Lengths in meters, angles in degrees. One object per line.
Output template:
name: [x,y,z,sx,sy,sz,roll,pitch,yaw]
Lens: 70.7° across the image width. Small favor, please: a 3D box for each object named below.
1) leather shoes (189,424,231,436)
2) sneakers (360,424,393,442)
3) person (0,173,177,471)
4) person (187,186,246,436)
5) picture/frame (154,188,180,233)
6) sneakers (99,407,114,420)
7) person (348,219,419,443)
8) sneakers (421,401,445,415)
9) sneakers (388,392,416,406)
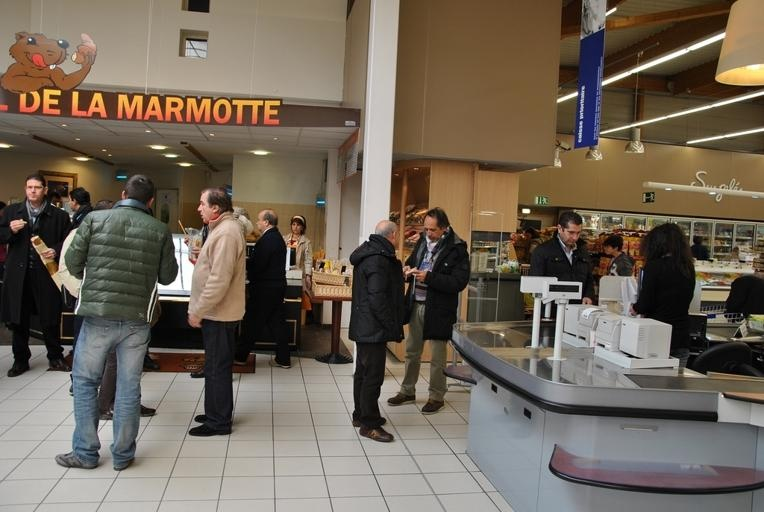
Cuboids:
leather shoes: [-1.711,1.748,5.397,0.386,0.131,0.134,6,-6,-8]
sneakers: [-0.051,1.793,5.444,0.302,0.120,0.133,-1,-3,26]
person: [-2.332,0.590,4.722,0.939,2.520,0.623,-5,13,-40]
person: [-1.639,0.570,5.362,0.516,2.393,0.543,0,11,-17]
picture/frame: [-6.445,-1.296,16.033,0.700,1.173,0.024,0,6,-43]
sneakers: [-2.811,1.626,5.509,0.230,0.096,0.079,1,0,-28]
person: [-0.071,0.757,5.471,0.572,2.154,0.607,3,10,-2]
sneakers: [0.576,1.732,6.121,0.285,0.106,0.109,3,-6,-41]
sneakers: [0.232,1.686,6.304,0.340,0.131,0.123,2,-4,-20]
